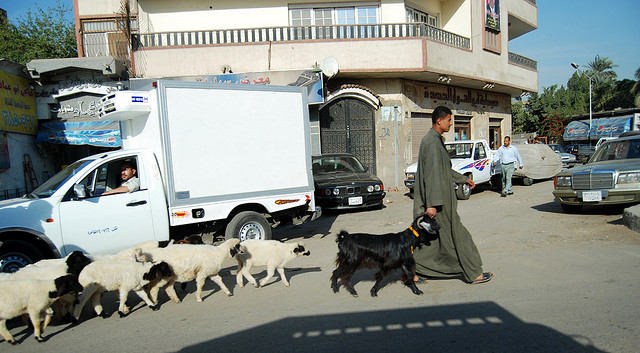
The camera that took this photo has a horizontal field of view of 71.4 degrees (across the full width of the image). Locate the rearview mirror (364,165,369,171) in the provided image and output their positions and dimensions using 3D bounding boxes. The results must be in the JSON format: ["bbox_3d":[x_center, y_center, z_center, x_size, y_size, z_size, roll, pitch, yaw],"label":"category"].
[{"bbox_3d":[2.187,-0.449,20.907,0.293,0.285,0.083,6,-16,-28],"label":"rearview mirror"}]

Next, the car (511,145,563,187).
[{"bbox_3d":[11.484,-0.806,24.435,3.933,1.834,2.246,-7,11,-29],"label":"car"}]

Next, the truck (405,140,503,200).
[{"bbox_3d":[6.979,-0.478,21.161,2.813,2.350,5.636,0,4,39],"label":"truck"}]

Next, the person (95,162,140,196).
[{"bbox_3d":[-5.391,0.045,12.148,0.770,0.646,1.083,-1,3,39],"label":"person"}]

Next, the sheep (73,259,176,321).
[{"bbox_3d":[-4.701,2.657,10.613,2.350,1.160,0.455,-7,4,-14],"label":"sheep"}]

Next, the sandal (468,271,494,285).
[{"bbox_3d":[4.005,2.497,11.109,0.605,0.215,0.230,-18,12,-9],"label":"sandal"}]

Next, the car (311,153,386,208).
[{"bbox_3d":[0.989,0.165,18.102,1.829,1.242,3.119,-3,5,-14],"label":"car"}]

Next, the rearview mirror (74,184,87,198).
[{"bbox_3d":[-6.193,0.372,11.523,0.361,0.347,0.248,-3,3,-16],"label":"rearview mirror"}]
